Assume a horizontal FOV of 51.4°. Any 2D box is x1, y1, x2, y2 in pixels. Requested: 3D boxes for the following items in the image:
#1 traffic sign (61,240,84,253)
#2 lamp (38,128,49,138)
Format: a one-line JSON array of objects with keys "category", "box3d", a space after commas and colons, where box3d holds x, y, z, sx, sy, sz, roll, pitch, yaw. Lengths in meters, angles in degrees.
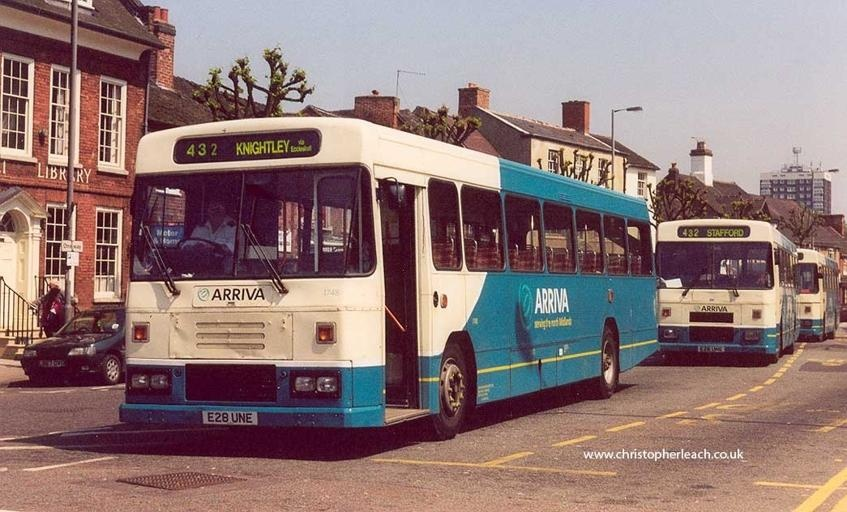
[{"category": "traffic sign", "box3d": [-10.916, -0.306, 27.188, 0.557, 0.440, 0.684, 1, -5, -28]}, {"category": "lamp", "box3d": [-13.517, -4.329, 31.147, 0.233, 0.292, 0.424, -3, -4, 23]}]
